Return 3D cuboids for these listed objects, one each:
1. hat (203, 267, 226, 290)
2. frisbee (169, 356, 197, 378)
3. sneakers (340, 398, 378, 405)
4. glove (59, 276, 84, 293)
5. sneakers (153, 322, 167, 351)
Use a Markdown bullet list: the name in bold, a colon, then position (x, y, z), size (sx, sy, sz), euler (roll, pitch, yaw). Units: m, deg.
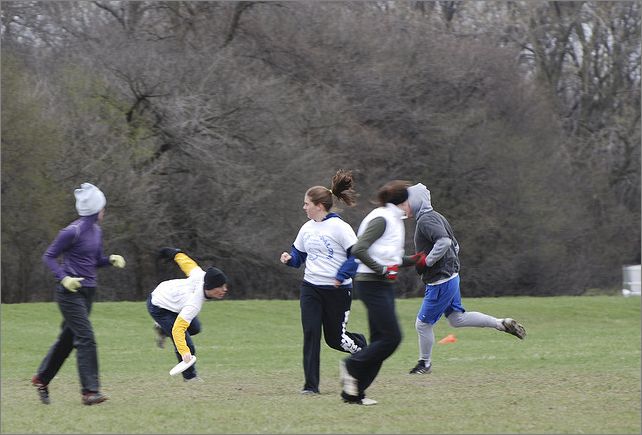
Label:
- **hat**: position (-2.073, 1.188, 24.569), size (0.559, 0.332, 0.431), euler (-7, -1, 19)
- **frisbee**: position (-2.620, 2.810, 24.096), size (0.540, 0.084, 0.462), euler (-20, 5, -1)
- **sneakers**: position (0.680, 3.398, 23.821), size (0.582, 0.155, 0.166), euler (4, -8, 1)
- **glove**: position (-4.675, 1.263, 24.007), size (0.411, 0.292, 0.109), euler (2, -2, -9)
- **sneakers**: position (-3.273, 2.375, 25.647), size (0.346, 0.482, 0.198), euler (-4, 15, 5)
